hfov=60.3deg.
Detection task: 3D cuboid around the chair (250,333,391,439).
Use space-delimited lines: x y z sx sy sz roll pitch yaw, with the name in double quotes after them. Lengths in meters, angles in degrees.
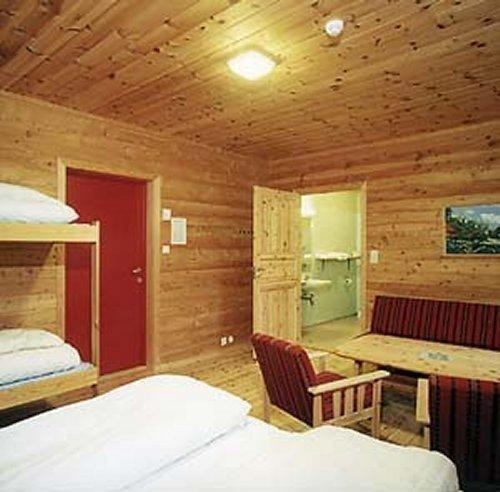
0.387 0.850 3.080 0.874 0.822 0.796 -1 0 -31 "chair"
